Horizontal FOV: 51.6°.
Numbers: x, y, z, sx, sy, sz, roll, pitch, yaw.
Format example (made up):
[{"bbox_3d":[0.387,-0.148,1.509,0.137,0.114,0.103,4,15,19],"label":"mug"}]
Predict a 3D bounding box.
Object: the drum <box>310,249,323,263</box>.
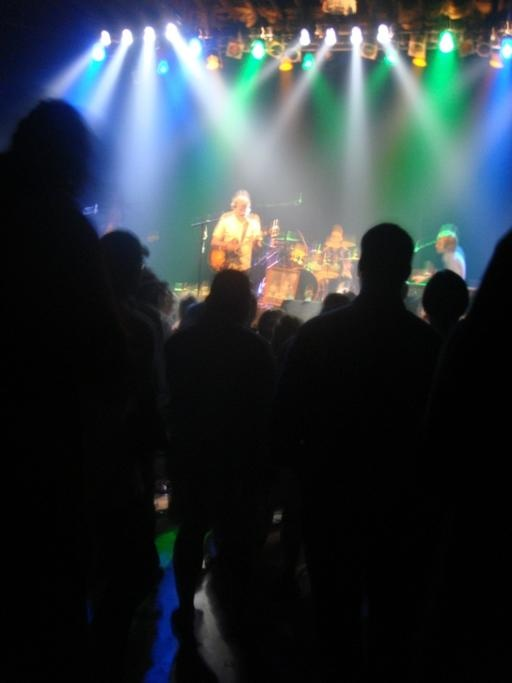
[{"bbox_3d":[1.115,-1.566,9.789,0.121,0.161,0.288,7,44,-5],"label":"drum"}]
